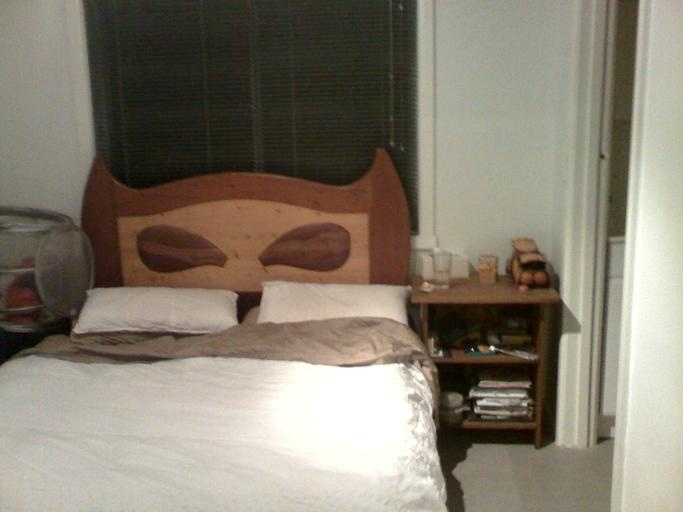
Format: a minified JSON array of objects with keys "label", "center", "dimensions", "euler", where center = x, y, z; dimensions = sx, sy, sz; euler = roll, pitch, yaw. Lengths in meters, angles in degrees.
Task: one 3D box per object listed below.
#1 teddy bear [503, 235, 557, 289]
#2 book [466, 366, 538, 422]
[{"label":"teddy bear","center":[1.142,0.038,4.074],"dimensions":[0.247,0.302,0.342],"euler":[-1,4,-28]},{"label":"book","center":[0.981,0.862,3.975],"dimensions":[0.321,0.145,0.319],"euler":[-1,14,-1]}]
